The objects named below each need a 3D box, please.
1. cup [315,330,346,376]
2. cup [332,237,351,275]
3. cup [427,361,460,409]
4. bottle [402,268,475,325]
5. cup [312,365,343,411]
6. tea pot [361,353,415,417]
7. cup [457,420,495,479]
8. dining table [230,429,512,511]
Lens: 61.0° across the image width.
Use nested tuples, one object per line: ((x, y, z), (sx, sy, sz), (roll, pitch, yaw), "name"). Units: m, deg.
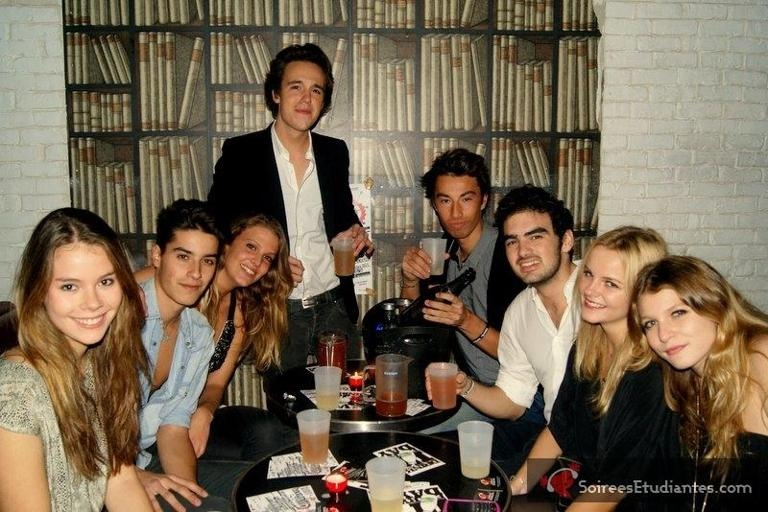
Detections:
((-0.281, 0.500, 3.452), (0.162, 0.261, 0.160), (1, 23, 0), "cup")
((-0.237, 0.006, 3.754), (0.117, 0.218, 0.090), (-3, 4, -4), "cup")
((0.276, 0.613, 3.104), (0.160, 0.226, 0.142), (-2, 3, 3), "cup")
((0.267, 0.205, 3.420), (0.395, 0.284, 0.309), (-2, 3, 0), "bottle")
((-0.271, 0.626, 3.131), (0.129, 0.202, 0.175), (-3, 3, -6), "cup")
((0.033, 0.606, 3.019), (0.263, 0.303, 0.200), (0, -1, 0), "tea pot")
((0.369, 0.791, 2.644), (0.201, 0.209, 0.194), (0, -3, 0), "cup")
((-0.033, 0.900, 2.647), (1.062, 0.204, 0.529), (-2, 3, 8), "dining table")
